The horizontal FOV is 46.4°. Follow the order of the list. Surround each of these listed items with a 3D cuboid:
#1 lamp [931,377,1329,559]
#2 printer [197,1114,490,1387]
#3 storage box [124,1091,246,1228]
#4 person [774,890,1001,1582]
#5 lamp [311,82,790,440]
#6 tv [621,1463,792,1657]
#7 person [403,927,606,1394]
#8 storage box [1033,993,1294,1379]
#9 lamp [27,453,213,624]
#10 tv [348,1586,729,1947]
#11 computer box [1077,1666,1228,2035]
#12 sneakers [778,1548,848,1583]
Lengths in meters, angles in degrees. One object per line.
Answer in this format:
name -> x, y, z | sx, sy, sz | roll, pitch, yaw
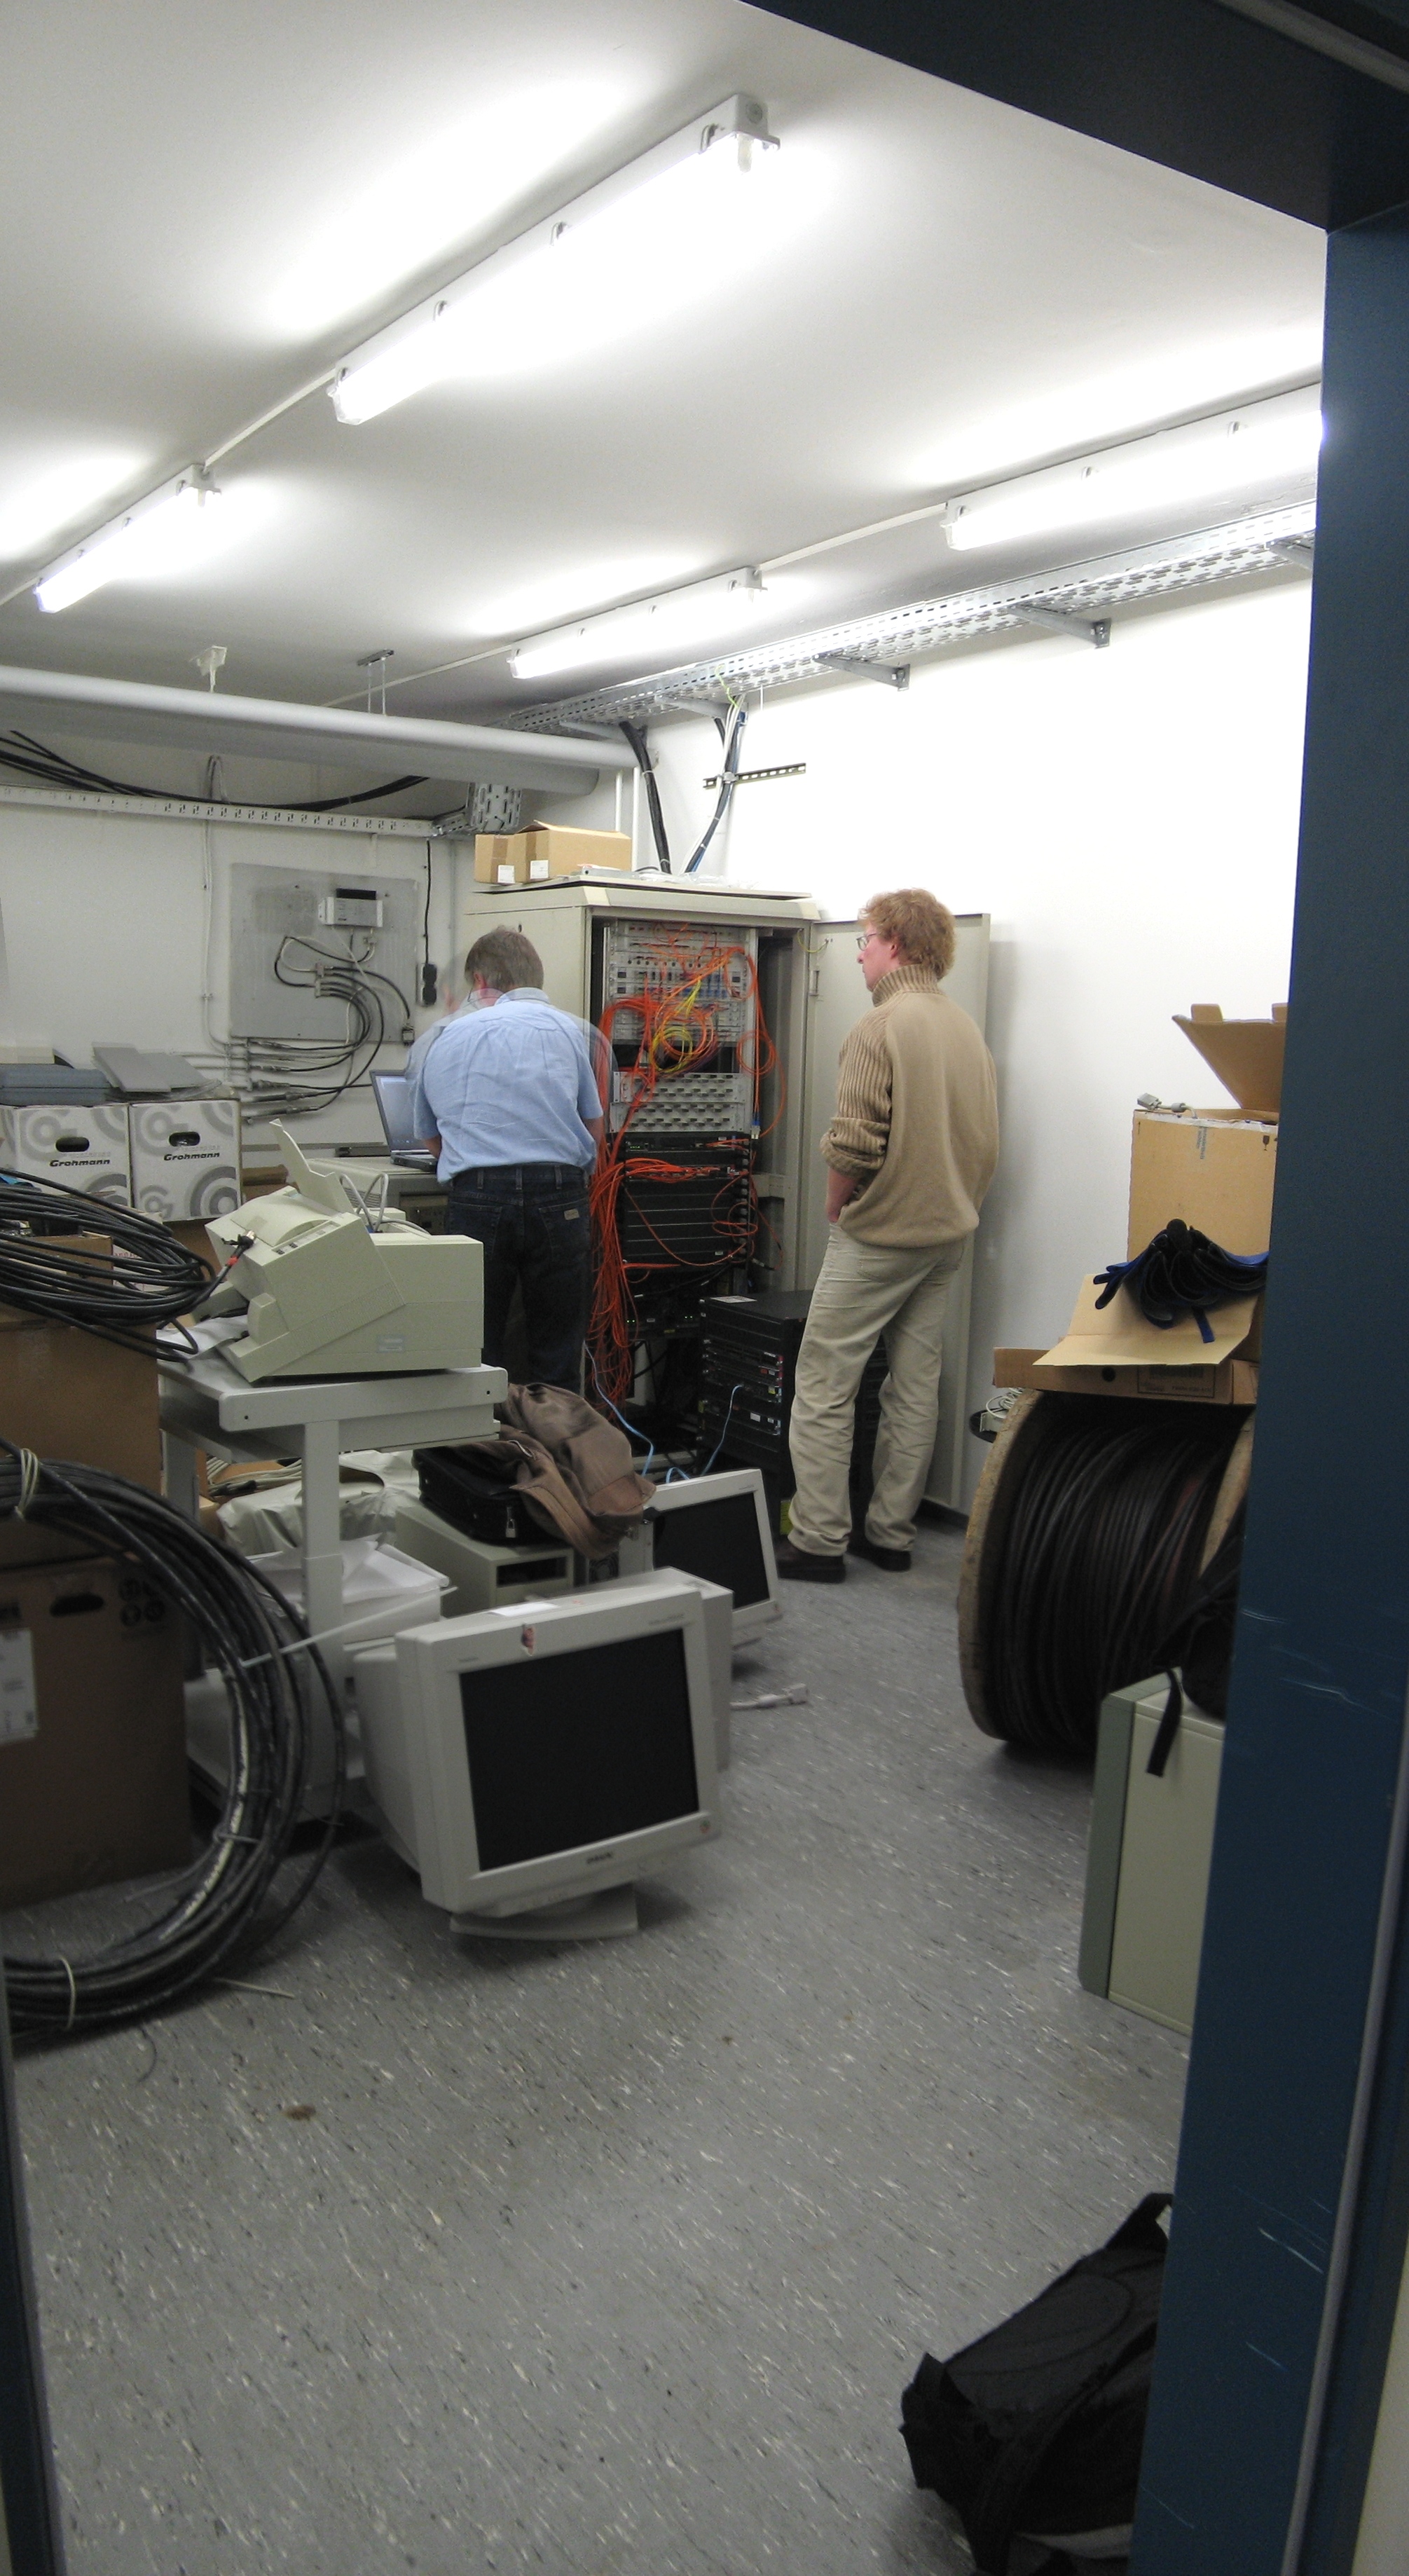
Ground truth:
lamp -> 0.920, -1.719, 3.497 | 0.249, 0.142, 0.981 | -3, 8, -35
printer -> -0.663, -0.066, 2.977 | 0.446, 0.420, 0.465 | -2, 7, -26
storage box -> -1.585, -0.462, 5.167 | 0.418, 0.517, 0.451 | -4, 16, -20
person -> 0.493, -0.131, 4.368 | 0.537, 1.835, 0.397 | -3, 7, -35
lamp -> -0.214, -1.596, 2.622 | 0.296, 0.100, 1.125 | -4, 8, -39
tv -> 0.039, 0.604, 3.622 | 0.218, 0.366, 0.181 | -10, 2, -5
person -> -0.523, -0.208, 4.659 | 0.432, 1.585, 0.461 | -4, 18, -15
storage box -> 0.903, -0.200, 3.210 | 0.383, 0.706, 0.712 | 3, 6, 22
lamp -> -1.422, -1.923, 4.256 | 0.288, 0.114, 1.355 | -3, 8, -36
tv -> -0.220, 0.710, 2.579 | 0.457, 0.484, 0.330 | -6, 5, -20
computer box -> 0.636, 0.821, 2.376 | 0.143, 0.481, 0.257 | 1, 6, -1
sneakers -> 0.284, 0.749, 4.415 | 0.192, 0.099, 0.074 | 7, 4, 17
